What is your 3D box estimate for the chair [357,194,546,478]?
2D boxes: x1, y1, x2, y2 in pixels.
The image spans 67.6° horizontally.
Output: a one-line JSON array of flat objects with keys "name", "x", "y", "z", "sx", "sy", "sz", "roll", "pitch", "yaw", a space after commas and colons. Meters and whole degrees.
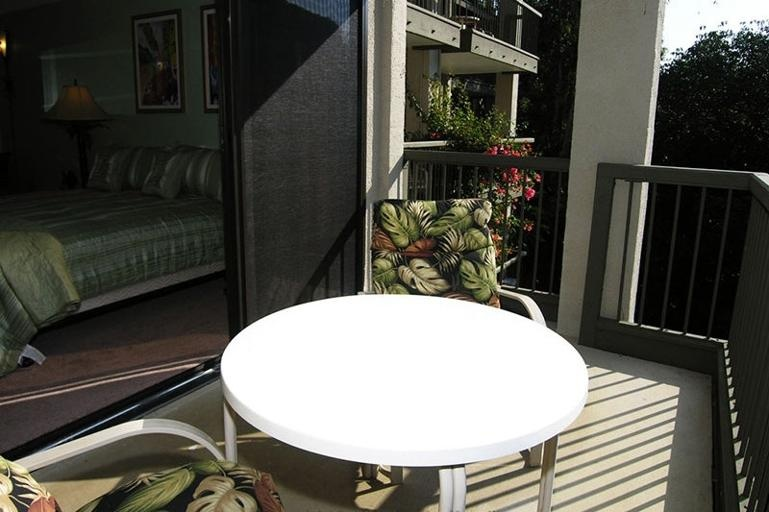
[{"name": "chair", "x": 0.321, "y": 0.341, "z": 3.743, "sx": 1.300, "sy": 2.035, "sz": 1.412, "roll": -2, "pitch": 21, "yaw": 0}]

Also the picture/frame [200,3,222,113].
[{"name": "picture/frame", "x": -1.861, "y": -2.101, "z": 6.160, "sx": 0.105, "sy": 1.079, "sz": 0.282, "roll": -10, "pitch": 20, "yaw": -38}]

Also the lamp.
[{"name": "lamp", "x": -3.371, "y": -1.135, "z": 6.391, "sx": 0.749, "sy": 1.489, "sz": 0.783, "roll": -3, "pitch": 14, "yaw": -17}]
